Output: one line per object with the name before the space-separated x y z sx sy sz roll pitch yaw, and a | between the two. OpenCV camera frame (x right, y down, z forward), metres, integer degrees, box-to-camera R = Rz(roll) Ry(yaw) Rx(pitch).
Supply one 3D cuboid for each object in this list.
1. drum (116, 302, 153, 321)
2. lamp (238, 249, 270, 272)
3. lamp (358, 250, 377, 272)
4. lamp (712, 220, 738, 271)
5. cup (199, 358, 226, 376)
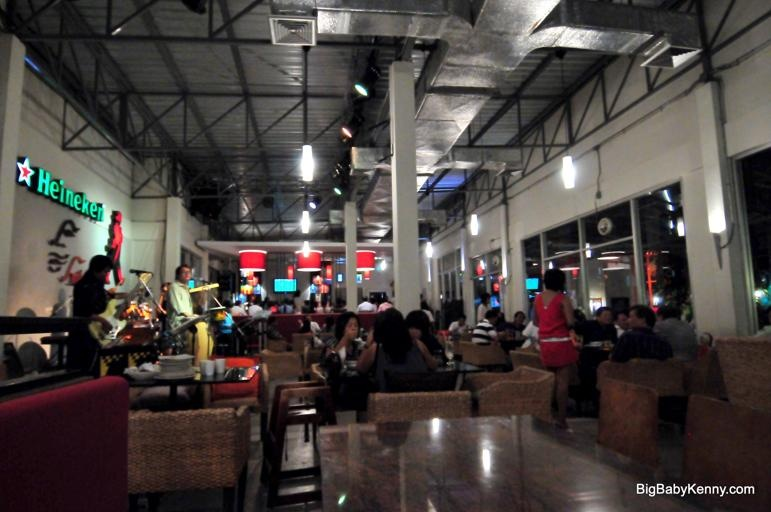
drum | -2.915 0.669 6.768 0.424 0.215 0.533 4 -10 -34
lamp | -4.113 0.163 18.071 0.765 0.563 0.780 -1 -6 2
lamp | -0.605 0.182 17.349 0.613 0.470 0.611 2 -5 -28
lamp | 4.829 -0.127 8.222 0.301 0.615 0.142 -10 -11 37
cup | -1.572 1.022 5.247 0.184 0.122 0.141 -5 -4 -14
